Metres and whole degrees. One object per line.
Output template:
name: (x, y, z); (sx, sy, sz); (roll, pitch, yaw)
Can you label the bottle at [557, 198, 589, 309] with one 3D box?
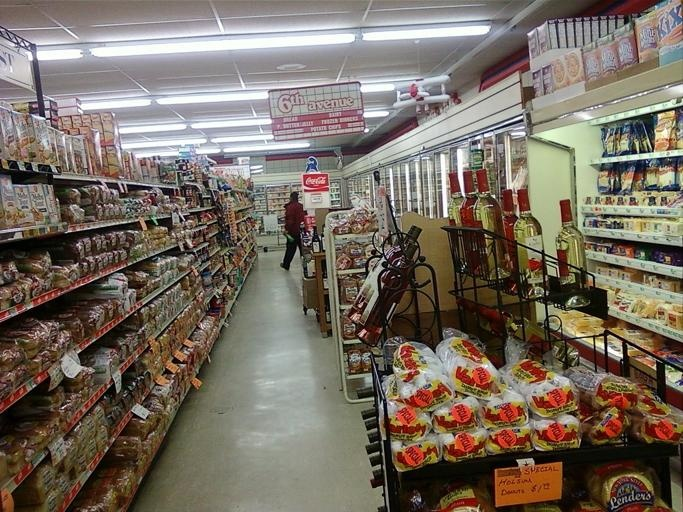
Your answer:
bottle: (0.955, -0.013, 1.822); (0.118, 0.442, 0.205); (-1, 10, 28)
